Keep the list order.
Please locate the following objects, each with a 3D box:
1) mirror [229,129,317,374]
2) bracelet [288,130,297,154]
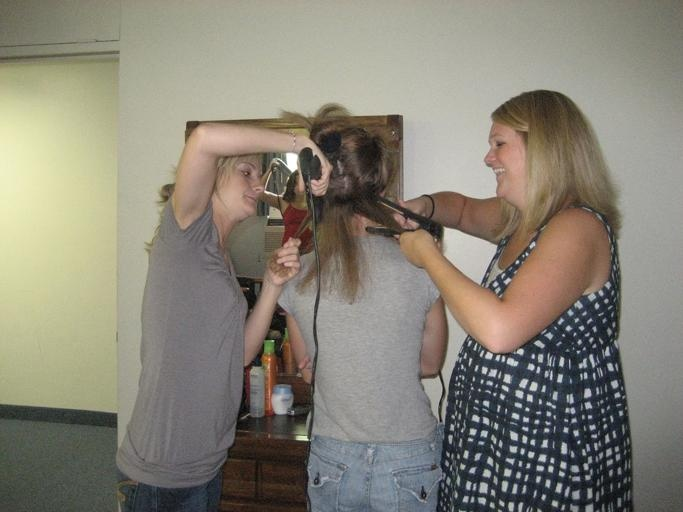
[{"bbox_3d":[-0.229,-0.027,2.272,0.488,0.731,0.171,2,1,5],"label":"mirror"},{"bbox_3d":[-0.160,-0.393,2.184,0.015,0.052,0.051,0,1,-11],"label":"bracelet"}]
